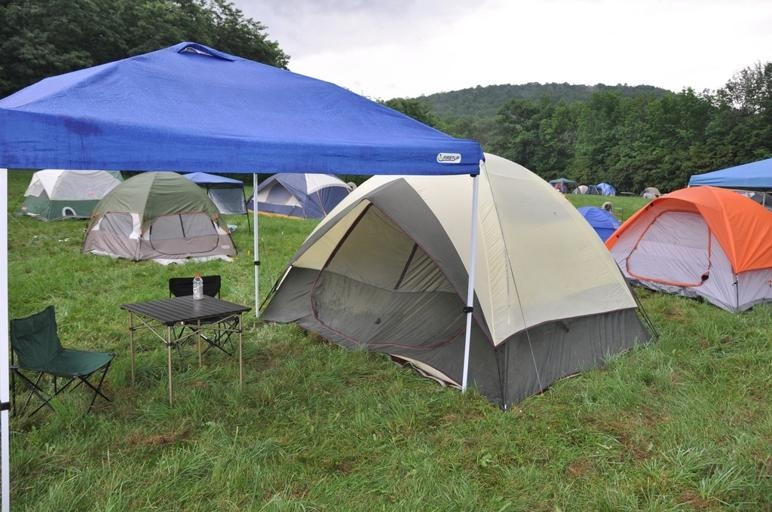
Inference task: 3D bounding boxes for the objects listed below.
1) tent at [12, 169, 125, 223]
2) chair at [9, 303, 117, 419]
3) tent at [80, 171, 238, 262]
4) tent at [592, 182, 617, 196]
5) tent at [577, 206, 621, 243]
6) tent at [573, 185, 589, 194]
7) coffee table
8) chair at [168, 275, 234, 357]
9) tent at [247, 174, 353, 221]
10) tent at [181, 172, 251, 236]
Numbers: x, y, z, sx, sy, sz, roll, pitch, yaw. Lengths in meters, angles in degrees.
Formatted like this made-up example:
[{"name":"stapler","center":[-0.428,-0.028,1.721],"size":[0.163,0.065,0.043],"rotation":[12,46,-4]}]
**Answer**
[{"name":"tent","center":[-8.703,-1.606,16.067],"size":[1.660,0.858,1.638],"rotation":[-10,20,-32]},{"name":"chair","center":[-3.556,1.236,6.461],"size":[0.854,1.140,0.792],"rotation":[5,11,-3]},{"name":"tent","center":[-4.562,-0.898,13.115],"size":[2.473,1.491,2.497],"rotation":[-9,10,-26]},{"name":"tent","center":[16.904,-5.038,44.638],"size":[1.610,0.795,2.105],"rotation":[-2,6,-3]},{"name":"tent","center":[4.760,-0.692,12.779],"size":[0.952,0.345,1.053],"rotation":[0,-31,-20]},{"name":"tent","center":[15.235,-5.057,44.730],"size":[1.024,0.378,0.979],"rotation":[-12,14,-13]},{"name":"coffee table","center":[-2.454,1.093,7.128],"size":[1.257,0.920,1.336],"rotation":[5,6,28]},{"name":"chair","center":[-2.409,0.838,7.650],"size":[0.775,1.115,0.855],"rotation":[-2,2,-40]},{"name":"tent","center":[-2.386,-2.083,20.105],"size":[2.403,0.953,2.363],"rotation":[-11,14,-42]},{"name":"tent","center":[-5.245,-1.841,18.711],"size":[2.332,1.577,2.336],"rotation":[0,4,-11]}]
